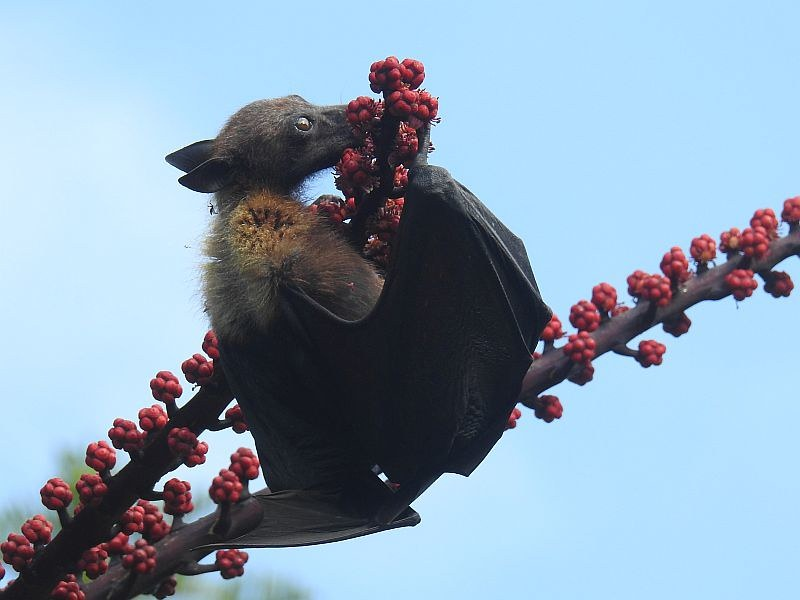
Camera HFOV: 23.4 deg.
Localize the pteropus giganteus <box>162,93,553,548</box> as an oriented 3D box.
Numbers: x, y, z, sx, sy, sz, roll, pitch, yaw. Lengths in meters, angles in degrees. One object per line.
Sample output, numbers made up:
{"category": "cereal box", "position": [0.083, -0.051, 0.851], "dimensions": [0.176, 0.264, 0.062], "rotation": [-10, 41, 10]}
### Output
{"category": "pteropus giganteus", "position": [-0.307, 0.176, 13.973], "dimensions": [2.106, 2.534, 2.632], "rotation": [-15, -52, 23]}
